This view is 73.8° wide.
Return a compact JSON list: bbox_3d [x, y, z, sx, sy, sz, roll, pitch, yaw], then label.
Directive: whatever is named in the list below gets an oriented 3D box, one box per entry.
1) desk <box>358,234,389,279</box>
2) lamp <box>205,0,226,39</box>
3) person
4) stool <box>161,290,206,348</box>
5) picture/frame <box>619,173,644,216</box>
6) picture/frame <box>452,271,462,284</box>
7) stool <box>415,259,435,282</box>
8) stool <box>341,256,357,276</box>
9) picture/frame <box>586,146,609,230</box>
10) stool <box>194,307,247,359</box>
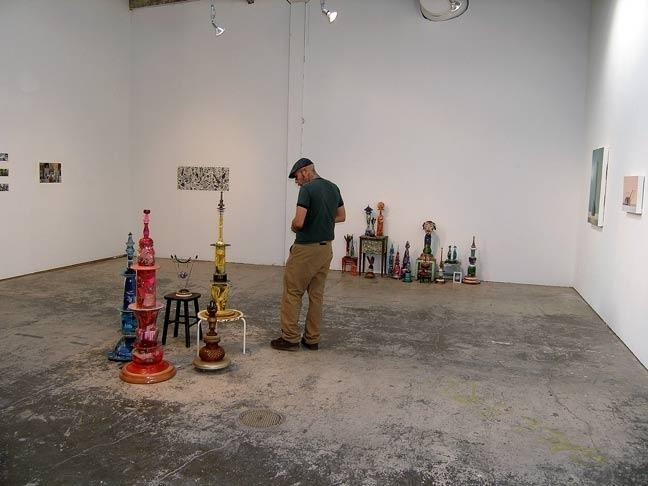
[{"bbox_3d":[0.979,0.216,8.638,0.538,0.809,0.507,1,16,6],"label":"desk"},{"bbox_3d":[-2.179,-4.611,8.885,0.295,0.773,0.668,-2,10,-17],"label":"lamp"},{"bbox_3d":[-0.156,0.136,4.739,0.511,2.070,0.722,10,13,42],"label":"person"},{"bbox_3d":[-1.682,0.875,5.024,0.405,0.513,0.431,3,3,-34],"label":"stool"},{"bbox_3d":[3.624,-0.560,5.081,0.064,0.461,0.714,5,10,22],"label":"picture/frame"},{"bbox_3d":[2.508,0.645,8.154,0.161,0.246,0.246,2,-2,9],"label":"picture/frame"},{"bbox_3d":[1.929,0.516,8.169,0.349,0.412,0.253,3,9,9],"label":"stool"},{"bbox_3d":[0.545,0.435,8.703,0.379,0.502,0.317,1,0,19],"label":"stool"},{"bbox_3d":[4.264,-0.877,6.714,0.107,1.204,0.836,3,6,23],"label":"picture/frame"},{"bbox_3d":[-1.125,0.941,4.704,0.497,0.419,0.525,0,5,-23],"label":"stool"}]
